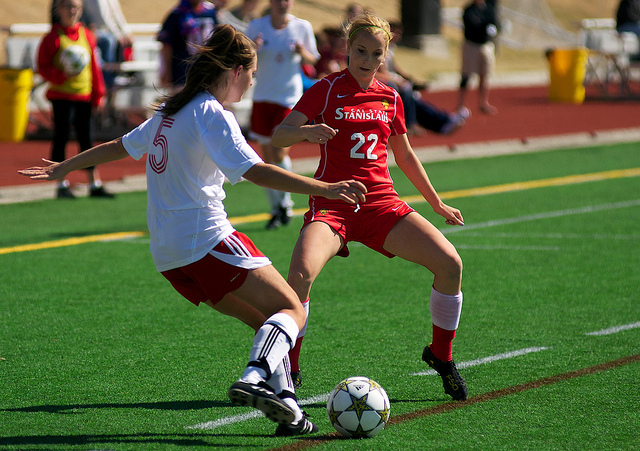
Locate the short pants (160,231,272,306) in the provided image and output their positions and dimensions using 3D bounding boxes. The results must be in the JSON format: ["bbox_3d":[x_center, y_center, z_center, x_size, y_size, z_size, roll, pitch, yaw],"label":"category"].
[{"bbox_3d":[-0.606,0.270,4.991,0.565,0.501,0.271,10,17,25],"label":"short pants"}]

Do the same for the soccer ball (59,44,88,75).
[{"bbox_3d":[-2.970,-2.011,10.455,0.299,0.286,0.373,7,9,-12],"label":"soccer ball"}]

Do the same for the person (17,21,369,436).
[{"bbox_3d":[-0.591,-0.001,5.059,1.518,2.268,0.842,15,20,38],"label":"person"}]

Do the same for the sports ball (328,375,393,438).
[{"bbox_3d":[0.216,1.088,5.156,0.400,0.357,0.398,-9,-17,-3],"label":"sports ball"}]
